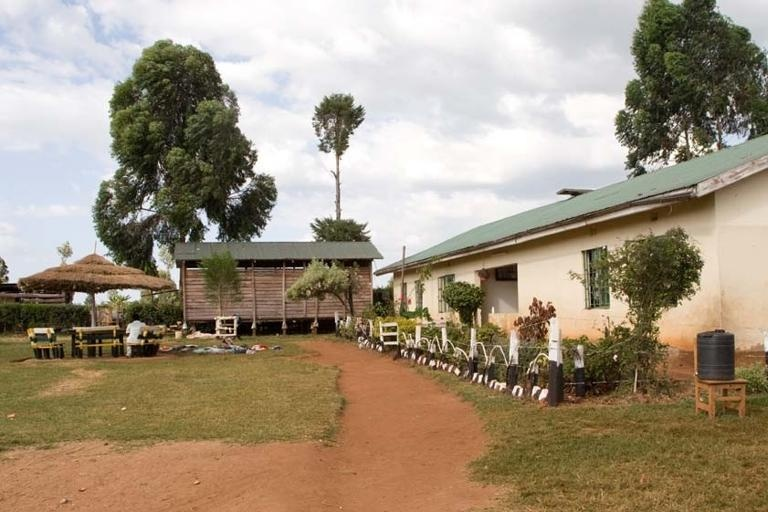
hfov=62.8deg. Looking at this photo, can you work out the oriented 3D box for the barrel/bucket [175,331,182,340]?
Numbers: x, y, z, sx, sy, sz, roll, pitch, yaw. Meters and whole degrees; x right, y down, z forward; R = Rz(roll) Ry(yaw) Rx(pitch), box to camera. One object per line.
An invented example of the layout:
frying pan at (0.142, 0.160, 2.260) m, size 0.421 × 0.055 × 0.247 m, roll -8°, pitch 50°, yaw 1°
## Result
barrel/bucket at (-9.248, 3.561, 28.295) m, size 0.401 × 0.383 × 0.402 m, roll -1°, pitch -6°, yaw 0°
